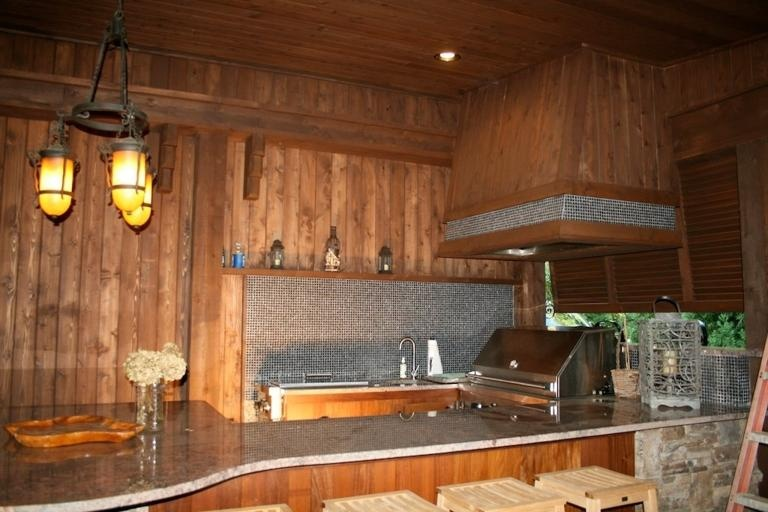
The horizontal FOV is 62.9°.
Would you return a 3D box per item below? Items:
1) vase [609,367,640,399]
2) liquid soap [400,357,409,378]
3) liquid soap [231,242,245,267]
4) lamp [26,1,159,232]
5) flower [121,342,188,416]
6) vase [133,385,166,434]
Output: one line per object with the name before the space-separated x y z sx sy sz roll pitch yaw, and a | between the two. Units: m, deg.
vase | 1.925 1.011 5.005 0.204 0.228 0.208 -3 -6 18
liquid soap | 0.181 1.071 6.048 0.080 0.200 0.123 -1 -6 3
liquid soap | -1.294 -0.003 5.552 0.119 0.241 0.138 1 -6 -15
lamp | -1.997 -1.021 4.370 0.812 1.595 1.413 3 -7 -27
flower | -1.410 0.802 3.830 0.327 0.414 0.376 -14 -17 34
vase | -1.407 0.907 3.768 0.157 0.287 0.139 1 -6 -17
